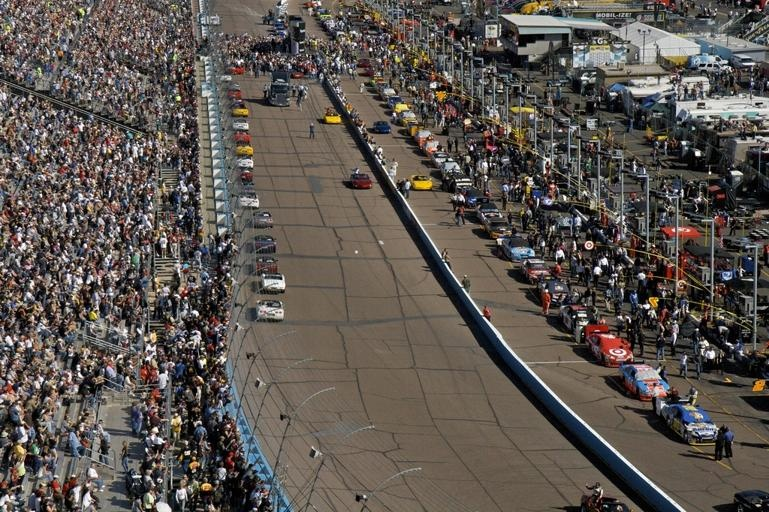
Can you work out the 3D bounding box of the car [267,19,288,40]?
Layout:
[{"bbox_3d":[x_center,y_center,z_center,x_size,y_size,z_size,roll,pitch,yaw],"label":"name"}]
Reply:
[{"bbox_3d":[-11.984,-25.818,184.550,1.646,1.401,4.012,-2,21,-5],"label":"car"}]
